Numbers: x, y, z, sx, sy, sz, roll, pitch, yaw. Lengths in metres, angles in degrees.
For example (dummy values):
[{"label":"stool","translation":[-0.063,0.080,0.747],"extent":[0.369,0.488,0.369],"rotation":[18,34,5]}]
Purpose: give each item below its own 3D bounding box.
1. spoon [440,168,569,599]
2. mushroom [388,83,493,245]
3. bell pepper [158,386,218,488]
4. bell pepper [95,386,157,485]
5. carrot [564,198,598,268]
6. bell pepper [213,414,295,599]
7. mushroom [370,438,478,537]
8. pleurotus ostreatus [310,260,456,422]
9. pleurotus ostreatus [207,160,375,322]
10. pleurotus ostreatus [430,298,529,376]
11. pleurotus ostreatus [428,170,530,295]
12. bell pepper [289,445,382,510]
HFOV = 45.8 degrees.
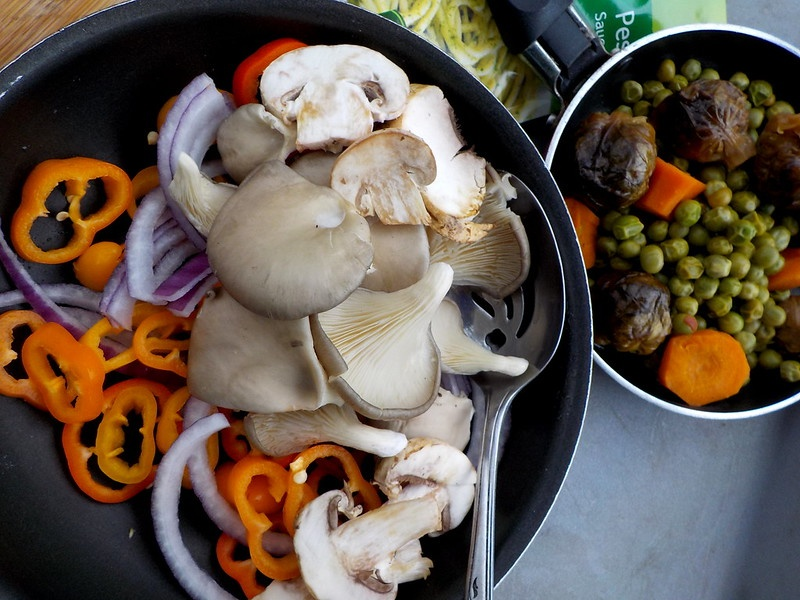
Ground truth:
[{"label":"spoon","translation":[0.297,0.229,2.371],"extent":[0.162,0.280,1.131],"rotation":[4,92,-36]},{"label":"mushroom","translation":[0.097,-0.314,2.301],"extent":[0.262,0.076,0.387],"rotation":[-9,97,-42]},{"label":"bell pepper","translation":[-0.529,0.324,2.306],"extent":[0.148,0.076,0.244],"rotation":[3,96,8]},{"label":"bell pepper","translation":[-0.673,0.332,2.323],"extent":[0.130,0.080,0.258],"rotation":[5,91,5]},{"label":"carrot","translation":[0.521,-0.195,2.718],"extent":[0.050,0.143,0.176],"rotation":[-24,87,-3]},{"label":"bell pepper","translation":[-0.370,0.499,2.359],"extent":[0.254,0.096,0.410],"rotation":[-10,93,-26]},{"label":"mushroom","translation":[0.069,0.441,2.285],"extent":[0.180,0.214,0.087],"rotation":[8,35,1]},{"label":"pleurotus ostreatus","translation":[-0.038,0.130,2.293],"extent":[0.325,0.356,0.381],"rotation":[3,71,-42]},{"label":"pleurotus ostreatus","translation":[-0.249,-0.116,2.092],"extent":[0.354,0.072,0.312],"rotation":[24,83,2]},{"label":"pleurotus ostreatus","translation":[0.187,0.127,2.344],"extent":[0.218,0.076,0.176],"rotation":[33,52,-13]},{"label":"pleurotus ostreatus","translation":[0.200,-0.129,2.356],"extent":[0.242,0.100,0.308],"rotation":[-26,119,-17]},{"label":"bell pepper","translation":[-0.153,0.440,2.311],"extent":[0.152,0.059,0.203],"rotation":[-41,90,-4]}]
